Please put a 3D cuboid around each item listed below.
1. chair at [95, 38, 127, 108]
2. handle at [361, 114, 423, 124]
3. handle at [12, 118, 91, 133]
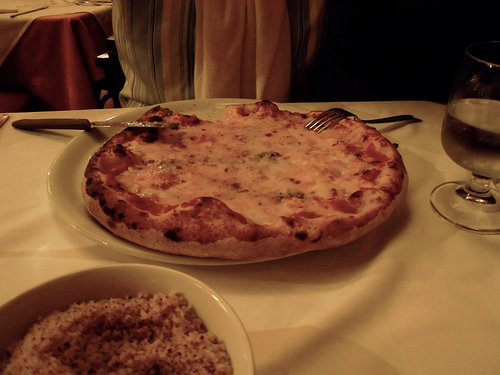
[{"bbox_3d":[-0.591,-0.545,1.896,0.159,0.221,0.172,3,33,-20],"label":"chair"},{"bbox_3d":[0.360,-0.176,1.135,0.161,0.027,0.021,-6,83,-10],"label":"handle"},{"bbox_3d":[-0.455,-0.142,1.019,0.145,0.033,0.030,1,27,-2],"label":"handle"}]
